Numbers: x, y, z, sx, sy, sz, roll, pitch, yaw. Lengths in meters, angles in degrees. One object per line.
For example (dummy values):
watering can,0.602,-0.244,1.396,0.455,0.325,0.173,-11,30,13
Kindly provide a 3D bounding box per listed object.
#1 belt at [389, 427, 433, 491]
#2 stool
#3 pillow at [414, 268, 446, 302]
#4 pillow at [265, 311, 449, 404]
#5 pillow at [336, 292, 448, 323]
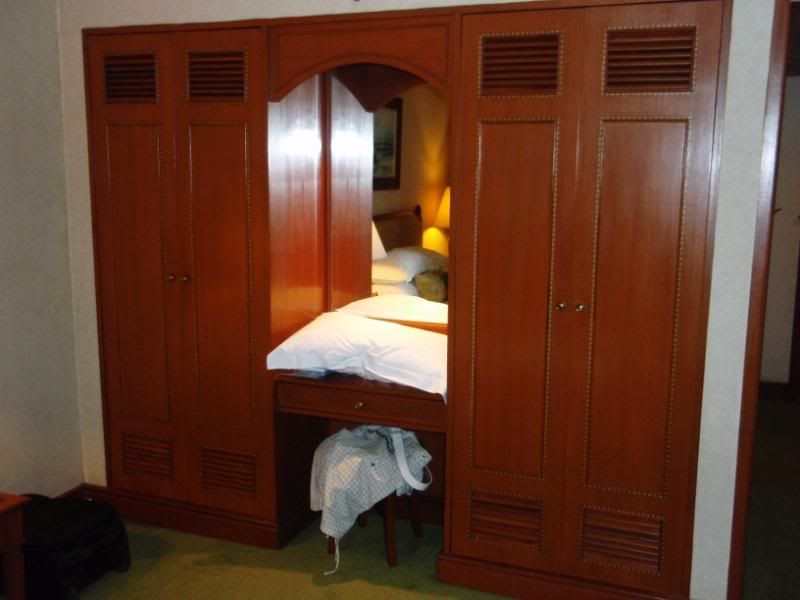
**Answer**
belt,0.006,0.774,3.535,0.176,0.069,0.333,-13,65,-54
stool,-0.124,0.881,3.698,0.604,0.671,0.588,1,1,13
pillow,0.166,-0.075,3.887,0.144,0.168,0.073,-5,-10,13
pillow,-0.136,0.248,3.490,0.541,0.162,0.425,13,25,12
pillow,-0.013,0.042,3.941,0.323,0.076,0.225,4,19,16
